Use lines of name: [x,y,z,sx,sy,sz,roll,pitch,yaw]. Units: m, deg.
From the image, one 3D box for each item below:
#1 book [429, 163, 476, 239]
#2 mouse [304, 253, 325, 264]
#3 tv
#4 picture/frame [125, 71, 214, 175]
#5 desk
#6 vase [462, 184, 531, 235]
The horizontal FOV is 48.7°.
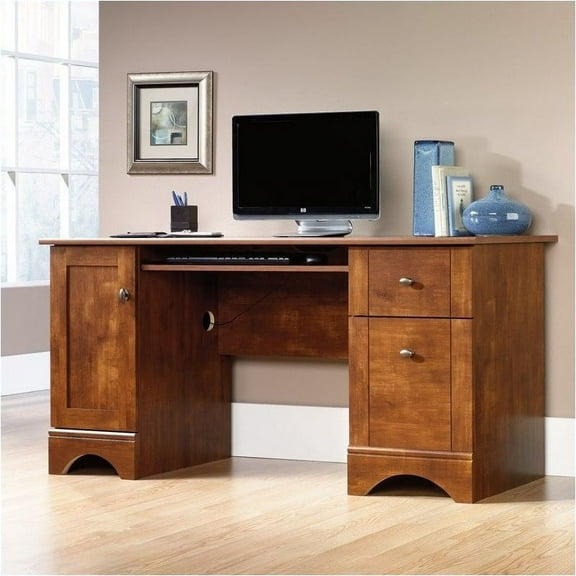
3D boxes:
book: [0.537,-0.279,2.103,0.061,0.361,0.274,0,3,26]
mouse: [0.088,-0.094,2.067,0.045,0.031,0.047,-5,8,-34]
tv: [0.086,-0.418,2.361,0.533,0.439,0.289,2,15,11]
picture/frame: [-0.464,-0.671,2.561,0.420,0.454,0.035,0,1,12]
desk: [-0.026,0.227,2.232,1.521,0.806,0.694,0,0,21]
vase: [0.673,-0.228,2.054,0.174,0.130,0.181,1,2,39]
